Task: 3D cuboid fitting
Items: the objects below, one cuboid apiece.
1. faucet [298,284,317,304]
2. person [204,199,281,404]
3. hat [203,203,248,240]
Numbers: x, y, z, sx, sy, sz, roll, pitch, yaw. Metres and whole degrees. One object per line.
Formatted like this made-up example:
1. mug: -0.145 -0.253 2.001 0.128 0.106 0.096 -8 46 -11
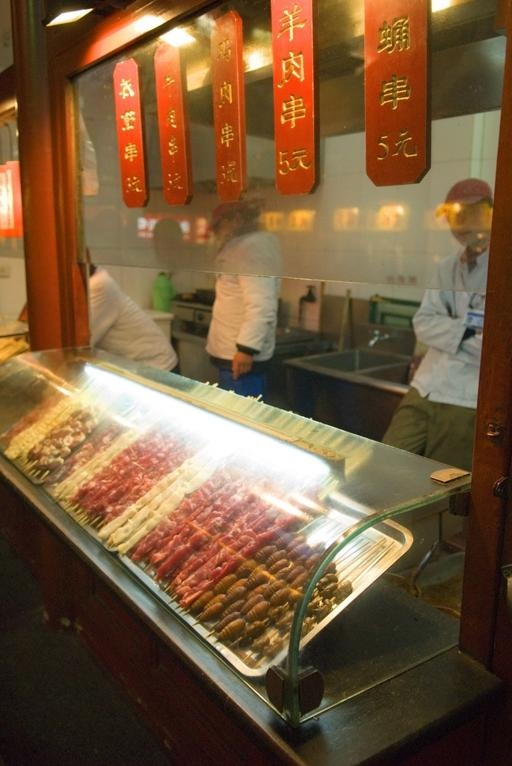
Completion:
1. faucet: 0.289 -0.491 3.176 0.036 0.109 0.139 -13 19 -37
2. person: -0.048 -0.281 2.227 0.247 0.897 0.394 4 26 3
3. hat: -0.074 -0.415 1.464 0.042 0.089 0.241 -7 16 -19
